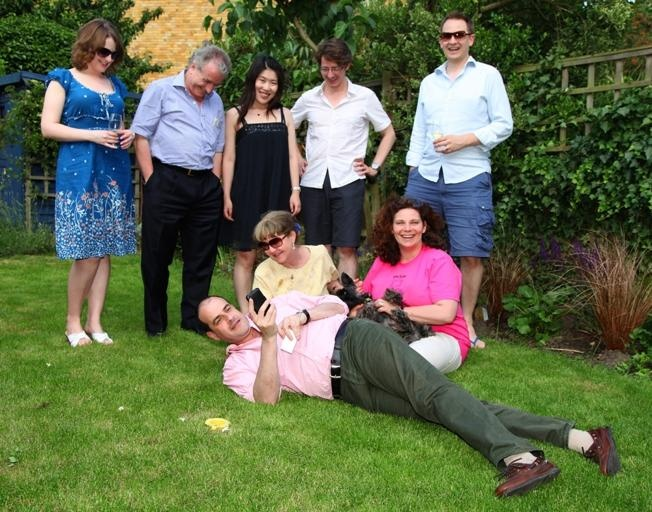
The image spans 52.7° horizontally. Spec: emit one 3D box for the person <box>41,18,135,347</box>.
[{"bbox_3d":[-1.727,-0.550,4.910,0.652,2.377,0.538,-8,15,-35],"label":"person"}]

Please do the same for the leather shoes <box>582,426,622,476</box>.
[{"bbox_3d":[1.442,0.995,3.449,0.129,0.112,0.298,-6,45,1],"label":"leather shoes"}]

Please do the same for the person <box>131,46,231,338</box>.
[{"bbox_3d":[-1.124,-0.494,5.175,0.733,2.264,0.363,-3,12,-18],"label":"person"}]

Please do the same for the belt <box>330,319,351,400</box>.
[{"bbox_3d":[0.070,0.624,3.887,0.100,0.356,0.253,2,-16,4],"label":"belt"}]

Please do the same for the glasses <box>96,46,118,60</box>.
[{"bbox_3d":[-1.583,-1.486,4.782,0.058,0.077,0.173,8,14,29],"label":"glasses"}]

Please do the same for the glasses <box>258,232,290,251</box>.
[{"bbox_3d":[-0.343,-0.121,4.395,0.122,0.046,0.133,-19,8,23],"label":"glasses"}]

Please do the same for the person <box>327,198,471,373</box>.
[{"bbox_3d":[0.453,0.187,4.394,0.821,1.178,0.894,-2,7,15],"label":"person"}]

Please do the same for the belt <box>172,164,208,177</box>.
[{"bbox_3d":[-1.070,-0.672,5.157,0.313,0.099,0.087,-3,13,-19],"label":"belt"}]

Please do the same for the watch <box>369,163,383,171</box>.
[{"bbox_3d":[0.412,-0.734,5.336,0.078,0.053,0.079,5,26,-39],"label":"watch"}]

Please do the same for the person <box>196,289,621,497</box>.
[{"bbox_3d":[0.309,0.666,3.796,2.527,0.720,0.955,14,30,33],"label":"person"}]

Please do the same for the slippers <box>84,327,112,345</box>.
[{"bbox_3d":[-1.718,0.594,4.996,0.096,0.065,0.240,-2,7,-41],"label":"slippers"}]
